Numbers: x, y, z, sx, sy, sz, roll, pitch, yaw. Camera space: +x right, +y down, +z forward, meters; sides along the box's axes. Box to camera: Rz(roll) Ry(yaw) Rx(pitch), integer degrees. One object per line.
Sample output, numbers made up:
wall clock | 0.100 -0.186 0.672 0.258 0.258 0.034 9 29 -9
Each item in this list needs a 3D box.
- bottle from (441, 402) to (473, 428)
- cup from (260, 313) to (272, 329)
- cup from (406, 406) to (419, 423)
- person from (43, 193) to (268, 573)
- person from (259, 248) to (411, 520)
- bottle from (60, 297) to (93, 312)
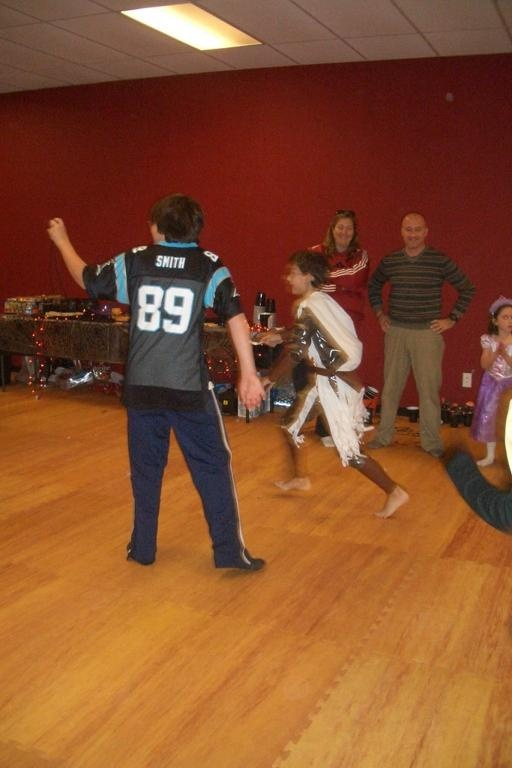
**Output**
bottle | 1.758 0.268 4.900 0.203 0.170 0.246 2 -2 1
cup | 0.077 -0.596 5.309 0.143 0.157 0.138 -2 1 0
cup | 1.417 0.275 5.142 0.141 0.140 0.126 1 0 -6
person | -0.342 0.057 2.180 0.740 1.501 0.384 1 6 1
person | 0.394 0.026 2.921 0.718 1.410 0.327 2 6 11
bottle | -1.914 -0.839 5.926 0.271 0.086 0.198 4 13 24
